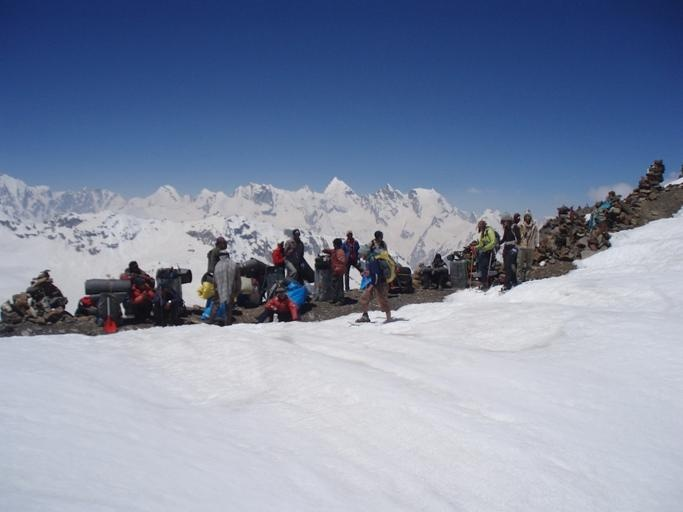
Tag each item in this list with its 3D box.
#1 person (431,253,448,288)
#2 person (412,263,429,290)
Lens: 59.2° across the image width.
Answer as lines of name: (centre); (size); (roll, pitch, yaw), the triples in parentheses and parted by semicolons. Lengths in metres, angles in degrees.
person: (4.667, 0.620, 28.681); (0.788, 1.574, 1.409); (2, 12, 6)
person: (3.878, 0.978, 29.551); (0.349, 1.136, 0.820); (5, 5, 5)
